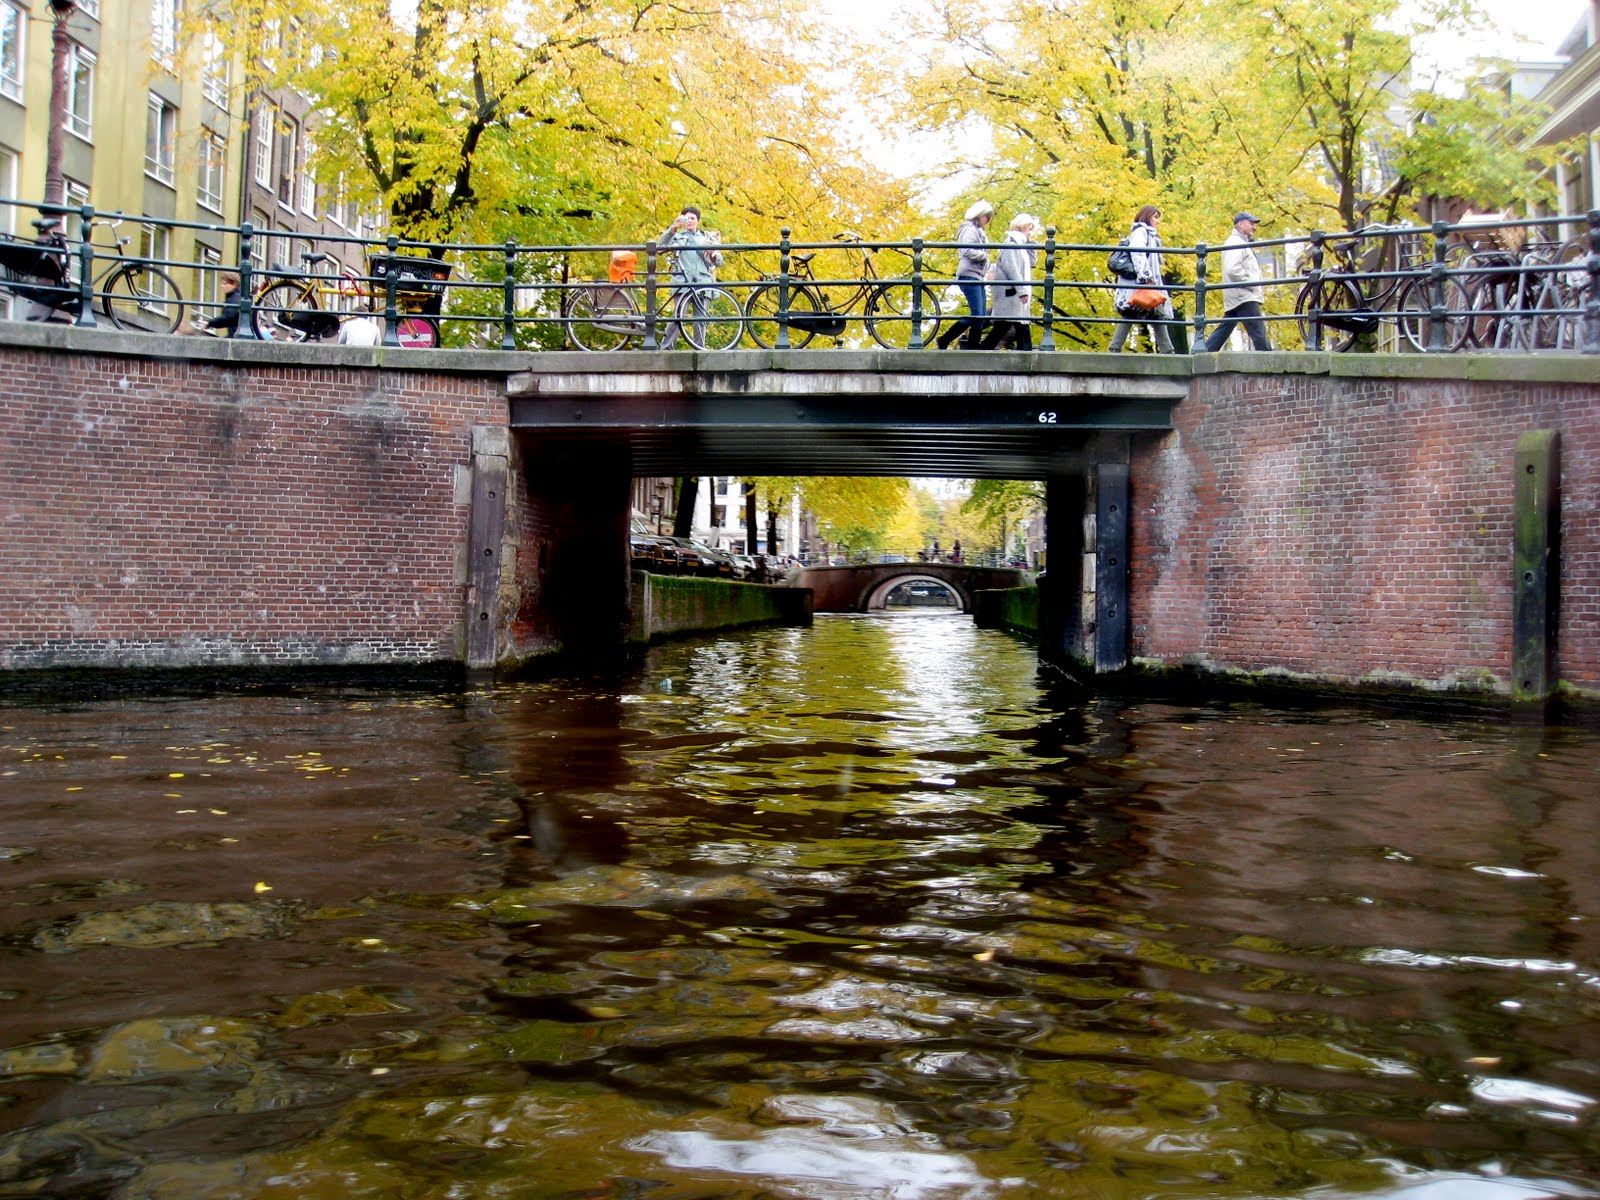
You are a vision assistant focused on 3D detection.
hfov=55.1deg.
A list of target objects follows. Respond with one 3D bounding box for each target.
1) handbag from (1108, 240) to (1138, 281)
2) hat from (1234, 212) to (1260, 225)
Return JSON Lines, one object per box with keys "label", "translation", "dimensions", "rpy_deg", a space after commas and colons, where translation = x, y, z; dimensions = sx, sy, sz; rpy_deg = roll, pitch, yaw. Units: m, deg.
{"label": "handbag", "translation": [3.405, -3.404, 16.166], "dimensions": [0.303, 0.302, 0.351], "rpy_deg": [8, 14, 18]}
{"label": "hat", "translation": [4.521, -3.712, 15.546], "dimensions": [0.305, 0.120, 0.192], "rpy_deg": [-8, 17, 17]}
